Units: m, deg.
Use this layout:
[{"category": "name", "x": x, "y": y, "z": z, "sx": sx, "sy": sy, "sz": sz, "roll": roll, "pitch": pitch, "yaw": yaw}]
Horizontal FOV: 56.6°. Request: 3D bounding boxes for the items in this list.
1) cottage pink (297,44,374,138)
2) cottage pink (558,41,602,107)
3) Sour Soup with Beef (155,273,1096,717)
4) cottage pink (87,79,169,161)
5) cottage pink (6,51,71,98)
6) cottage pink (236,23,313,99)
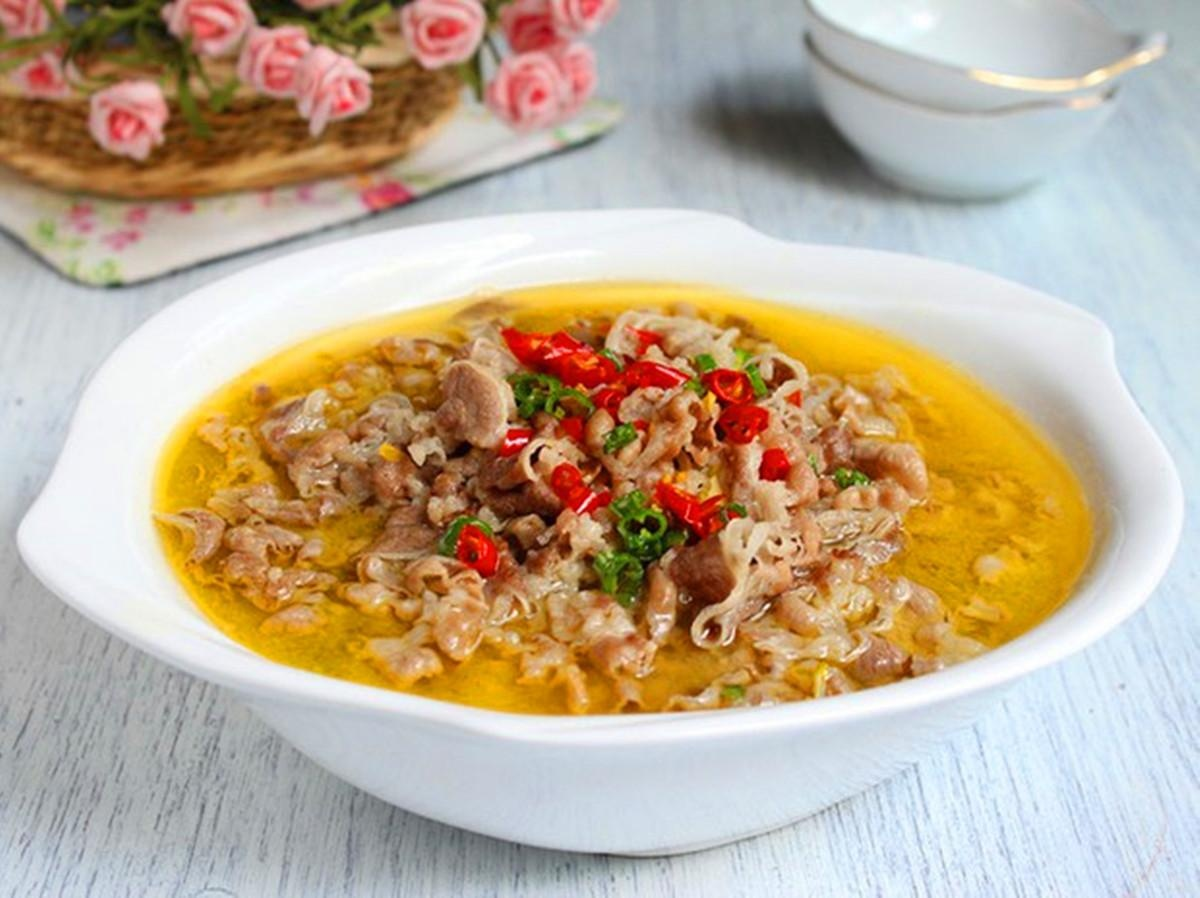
[{"category": "cottage pink", "x": -1.211, "y": -1.644, "z": 5.153, "sx": 0.353, "sy": 0.419, "sz": 0.308, "roll": -17, "pitch": 26, "yaw": -39}, {"category": "cottage pink", "x": -0.112, "y": -1.894, "z": 5.628, "sx": 0.291, "sy": 0.286, "sz": 0.142, "roll": 2, "pitch": 18, "yaw": -15}, {"category": "Sour Soup with Beef", "x": -0.113, "y": -0.018, "z": 4.751, "sx": 3.579, "sy": 1.179, "sz": 2.524, "roll": -3, "pitch": 16, "yaw": -9}, {"category": "cottage pink", "x": -2.213, "y": -1.541, "z": 5.240, "sx": 0.319, "sy": 0.348, "sz": 0.251, "roll": 6, "pitch": 65, "yaw": -3}, {"category": "cottage pink", "x": -2.719, "y": -1.818, "z": 5.419, "sx": 0.216, "sy": 0.079, "sz": 0.200, "roll": 21, "pitch": 34, "yaw": 27}, {"category": "cottage pink", "x": -1.485, "y": -1.782, "z": 5.154, "sx": 0.245, "sy": 0.309, "sz": 0.395, "roll": 24, "pitch": 31, "yaw": 34}]
